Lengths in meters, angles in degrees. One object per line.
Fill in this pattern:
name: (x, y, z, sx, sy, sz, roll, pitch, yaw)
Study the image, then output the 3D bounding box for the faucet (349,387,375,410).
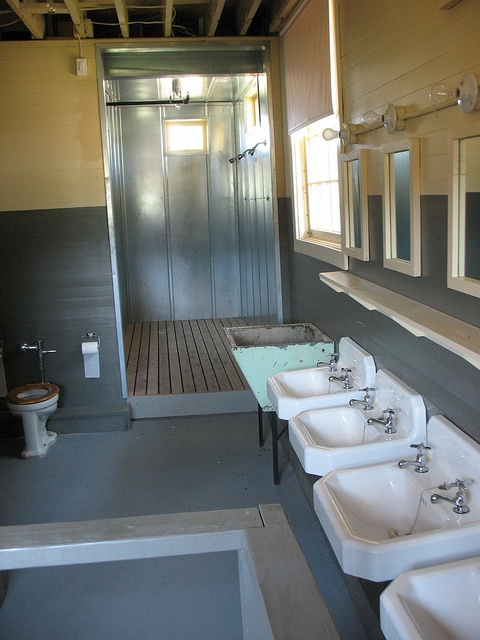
faucet: (0.600, 0.395, 2.443, 0.124, 0.128, 0.086, -4, 16, -2)

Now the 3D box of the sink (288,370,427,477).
sink: (0.488, 0.496, 2.097, 0.462, 0.317, 0.515, -5, 17, -9)

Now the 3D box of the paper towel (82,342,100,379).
paper towel: (-1.372, 0.391, 4.517, 0.151, 0.374, 0.151, -6, 11, -18)

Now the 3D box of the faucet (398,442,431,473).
faucet: (0.656, 0.526, 1.804, 0.114, 0.129, 0.082, -3, 10, 0)

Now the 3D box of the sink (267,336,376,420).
sink: (0.431, 0.378, 2.718, 0.482, 0.341, 0.509, -6, 18, -10)

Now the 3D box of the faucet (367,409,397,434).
faucet: (0.636, 0.436, 2.147, 0.144, 0.127, 0.064, -5, 12, -28)

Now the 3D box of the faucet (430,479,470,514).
faucet: (0.655, 0.546, 1.547, 0.107, 0.106, 0.098, 0, 14, 8)

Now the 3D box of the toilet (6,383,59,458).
toilet: (-1.718, 0.831, 4.290, 0.447, 0.622, 0.534, 1, 22, 0)

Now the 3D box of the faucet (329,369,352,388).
faucet: (0.562, 0.332, 2.774, 0.139, 0.150, 0.072, -3, 14, -9)
